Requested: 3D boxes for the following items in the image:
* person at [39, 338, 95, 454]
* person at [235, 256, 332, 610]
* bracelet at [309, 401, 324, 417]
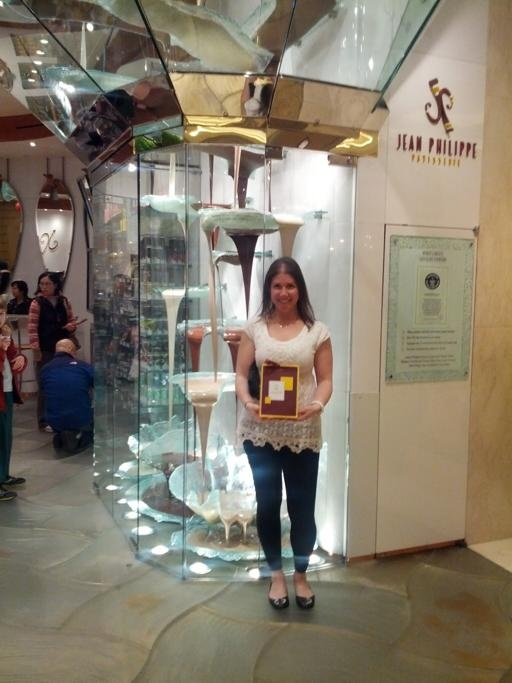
[{"bbox_3d":[-1.514,0.434,4.269,0.388,0.869,0.320,-1,4,-23],"label":"person"},{"bbox_3d":[0.111,0.354,2.049,0.354,1.378,0.293,-1,4,-16],"label":"person"},{"bbox_3d":[0.226,0.249,1.988,0.036,0.027,0.051,3,-33,3],"label":"bracelet"}]
